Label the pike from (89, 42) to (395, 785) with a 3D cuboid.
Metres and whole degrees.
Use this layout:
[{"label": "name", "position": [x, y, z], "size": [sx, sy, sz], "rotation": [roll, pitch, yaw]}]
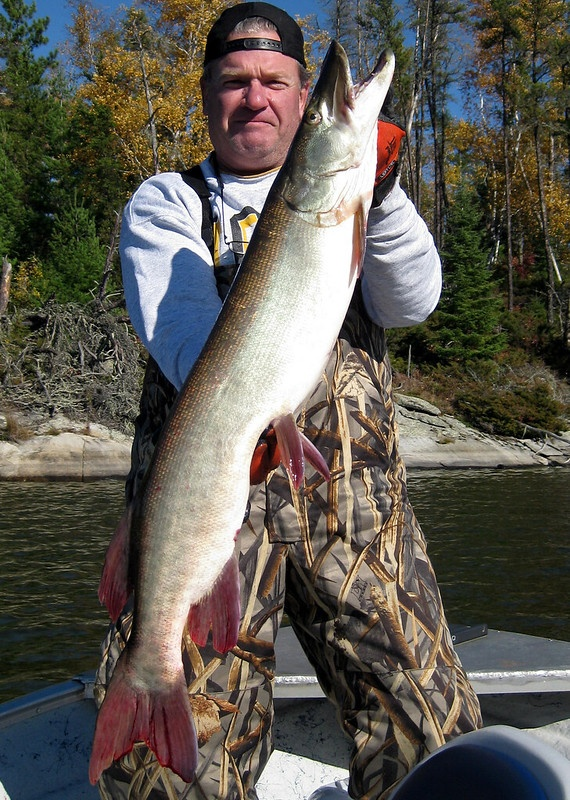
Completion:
[{"label": "pike", "position": [-0.066, 0.013, 1.221], "size": [0.474, 1.281, 0.243], "rotation": [2, 3, -1]}]
